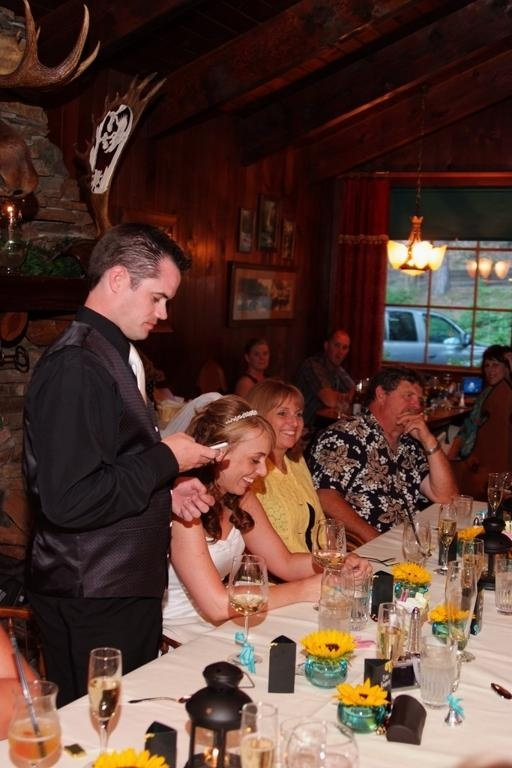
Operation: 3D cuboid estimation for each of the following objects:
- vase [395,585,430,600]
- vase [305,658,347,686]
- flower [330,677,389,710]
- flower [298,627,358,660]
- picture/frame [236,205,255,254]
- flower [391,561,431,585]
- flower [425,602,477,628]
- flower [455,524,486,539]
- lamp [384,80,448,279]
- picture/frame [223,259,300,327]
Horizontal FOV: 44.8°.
[{"bbox_3d":[0.478,0.650,1.944,0.071,0.046,0.067,3,-2,-19],"label":"vase"},{"bbox_3d":[0.161,0.669,1.444,0.089,0.058,0.084,1,-3,-11],"label":"vase"},{"bbox_3d":[0.225,0.614,1.272,0.084,0.032,0.083,9,-9,-44],"label":"flower"},{"bbox_3d":[0.171,0.623,1.488,0.144,0.050,0.134,-1,1,-1],"label":"flower"},{"bbox_3d":[-0.108,-1.616,6.602,0.072,0.475,0.361,2,4,20],"label":"picture/frame"},{"bbox_3d":[0.490,0.595,2.010,0.095,0.047,0.089,2,-6,3],"label":"flower"},{"bbox_3d":[0.496,0.622,1.642,0.146,0.075,0.139,-3,-11,15],"label":"flower"},{"bbox_3d":[0.823,0.573,2.408,0.078,0.029,0.072,-6,-3,-1],"label":"flower"},{"bbox_3d":[1.879,-2.273,7.188,0.557,2.173,2.151,2,3,14],"label":"lamp"},{"bbox_3d":[0.092,-1.008,7.021,0.044,0.694,1.522,3,3,28],"label":"picture/frame"}]
